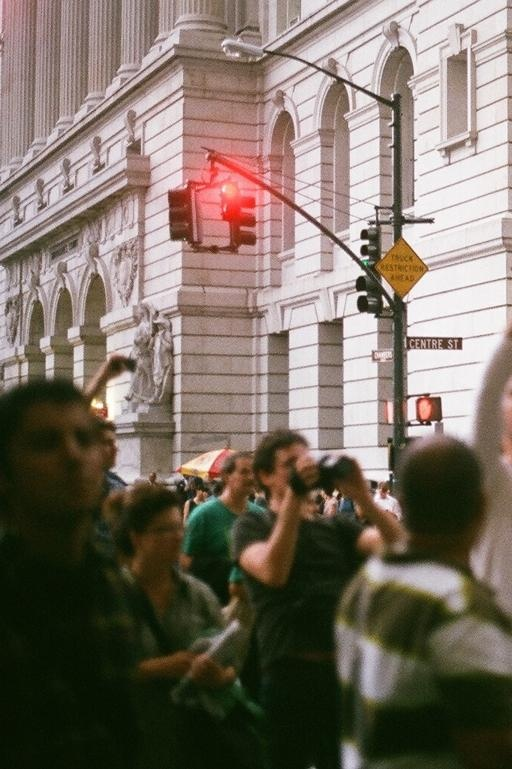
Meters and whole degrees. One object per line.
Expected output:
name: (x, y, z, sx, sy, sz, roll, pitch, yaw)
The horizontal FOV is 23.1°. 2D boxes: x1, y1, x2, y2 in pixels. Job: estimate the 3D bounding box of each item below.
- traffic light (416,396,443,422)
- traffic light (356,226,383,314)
traffic light: (2.113, 0.318, 15.561, 0.298, 0.408, 0.217, -1, 9, -8)
traffic light: (1.426, -1.438, 15.992, 0.317, 1.159, 0.290, 0, 5, 9)
